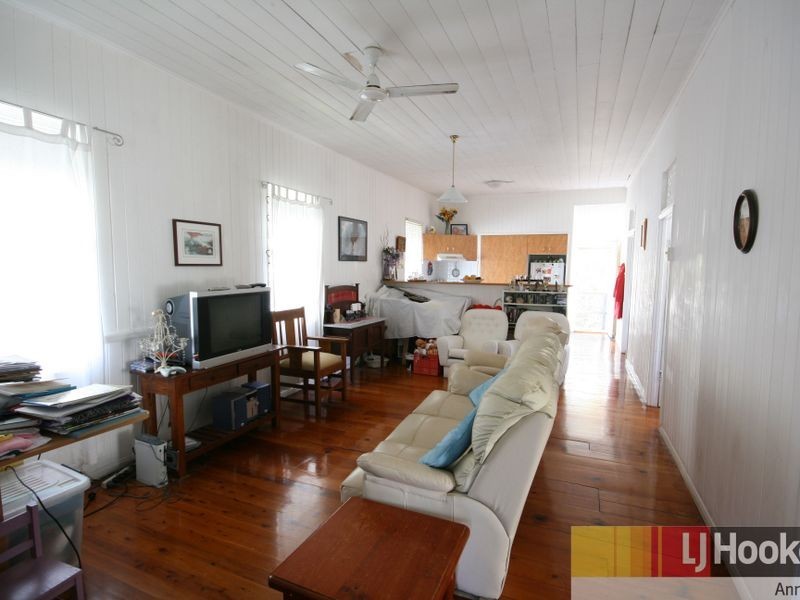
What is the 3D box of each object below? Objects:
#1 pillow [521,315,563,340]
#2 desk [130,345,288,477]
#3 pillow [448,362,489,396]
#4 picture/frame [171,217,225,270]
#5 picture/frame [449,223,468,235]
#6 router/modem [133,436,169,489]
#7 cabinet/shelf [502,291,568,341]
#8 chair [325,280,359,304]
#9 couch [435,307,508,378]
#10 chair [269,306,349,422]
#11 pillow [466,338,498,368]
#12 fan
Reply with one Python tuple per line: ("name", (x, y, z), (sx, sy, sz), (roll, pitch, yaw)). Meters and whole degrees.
("pillow", (1.404, 0.278, 5.180), (0.064, 0.218, 0.182), (27, -21, -25))
("desk", (-1.528, 0.914, 4.542), (0.398, 0.853, 1.242), (5, 8, 39))
("pillow", (0.595, 0.694, 4.588), (0.243, 0.170, 0.258), (0, 5, -6))
("picture/frame", (-1.835, -0.497, 4.685), (0.048, 0.421, 0.484), (4, 4, 23))
("picture/frame", (1.198, -1.400, 10.498), (0.264, 0.245, 0.021), (6, 22, 11))
("router/modem", (-1.904, 1.253, 4.002), (0.299, 0.362, 0.134), (6, 11, 23))
("cabinet/shelf", (1.638, 0.182, 6.311), (0.606, 0.582, 0.186), (0, -3, 7))
("chair", (-0.765, -0.066, 6.835), (0.127, 0.256, 0.763), (2, 6, 21))
("couch", (0.956, 0.583, 6.697), (0.873, 1.058, 0.821), (-2, -11, 30))
("chair", (-0.992, 0.658, 6.054), (0.937, 1.577, 1.007), (1, 4, 27))
("pillow", (0.791, 0.536, 5.019), (0.260, 0.244, 0.256), (3, 6, 22))
("fan", (-0.143, -1.737, 4.292), (1.019, 0.438, 1.053), (0, 6, -1))
